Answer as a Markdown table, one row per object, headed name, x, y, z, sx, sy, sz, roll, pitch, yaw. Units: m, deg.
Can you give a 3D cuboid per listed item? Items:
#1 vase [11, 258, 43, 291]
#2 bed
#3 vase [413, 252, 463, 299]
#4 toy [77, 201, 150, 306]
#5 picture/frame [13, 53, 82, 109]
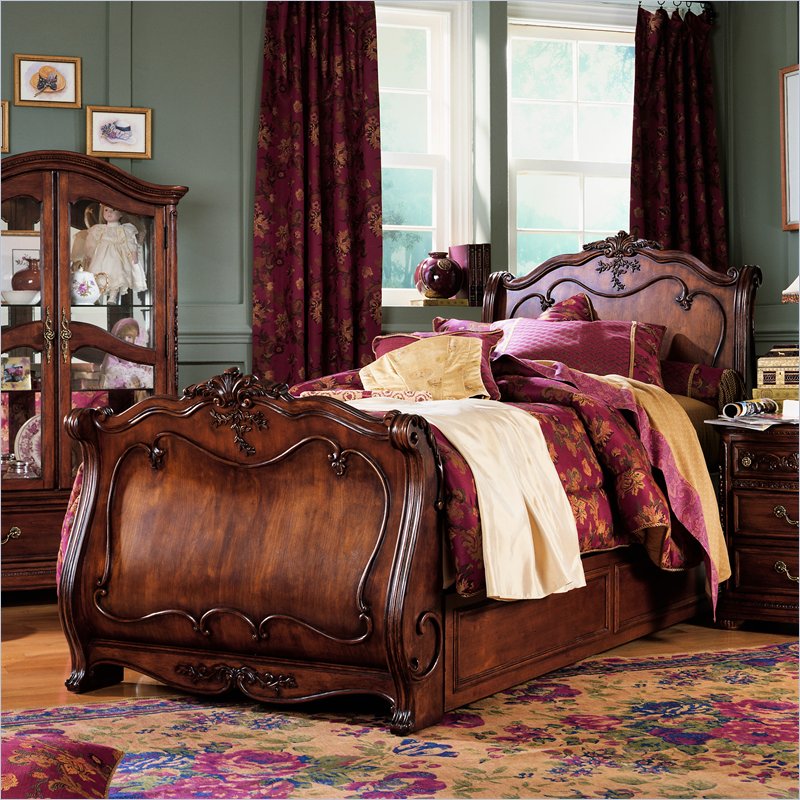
| name | x | y | z | sx | sy | sz | roll | pitch | yaw |
| --- | --- | --- | --- | --- | --- | --- | --- | --- | --- |
| vase | -1.525 | -0.501 | 3.698 | 0.136 | 0.112 | 0.134 | 4 | -1 | -42 |
| bed | 0.226 | 0.161 | 3.061 | 1.277 | 1.138 | 2.141 | -1 | 1 | 35 |
| vase | 0.187 | -0.603 | 4.544 | 0.251 | 0.200 | 0.231 | 2 | -1 | -18 |
| toy | -1.195 | -0.609 | 3.800 | 0.355 | 0.357 | 0.155 | -3 | -1 | -18 |
| picture/frame | -1.614 | -1.444 | 4.144 | 0.327 | 0.231 | 0.024 | 0 | 0 | -14 |
